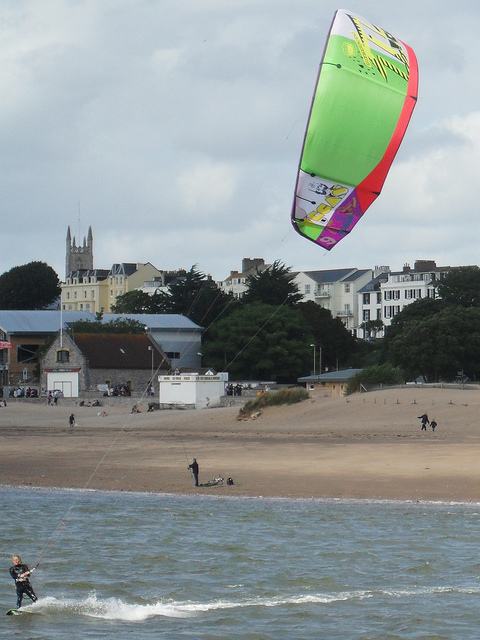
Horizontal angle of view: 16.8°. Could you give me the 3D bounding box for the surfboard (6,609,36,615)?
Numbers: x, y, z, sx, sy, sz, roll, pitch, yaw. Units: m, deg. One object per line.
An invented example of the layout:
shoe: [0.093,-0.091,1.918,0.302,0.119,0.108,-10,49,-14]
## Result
surfboard: [-4.492,5.820,32.756,0.123,0.073,0.489,15,2,25]
